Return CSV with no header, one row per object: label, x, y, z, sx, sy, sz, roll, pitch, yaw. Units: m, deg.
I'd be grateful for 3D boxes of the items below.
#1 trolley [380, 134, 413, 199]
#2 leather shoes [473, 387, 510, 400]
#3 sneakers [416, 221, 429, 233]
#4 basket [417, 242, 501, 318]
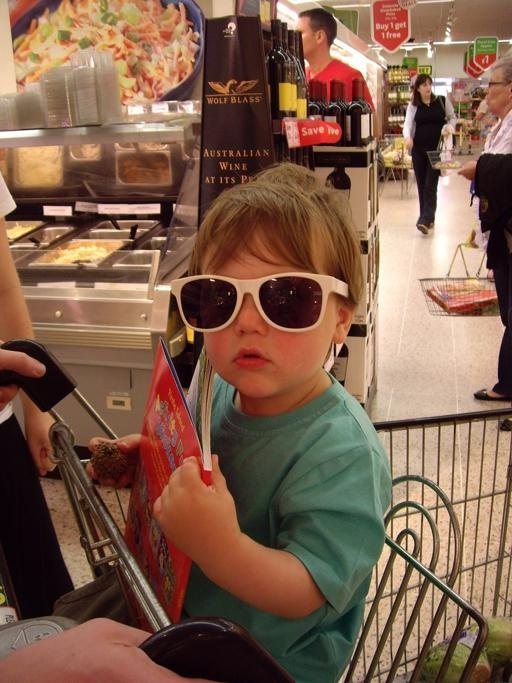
trolley,3.828,-4.846,13.663,0.886,1.265,0.832,-19,24,-38
leather shoes,1.710,0.388,3.646,0.222,0.065,0.086,6,6,20
sneakers,2.807,-1.915,8.472,0.193,0.195,0.212,6,25,19
basket,1.454,-0.410,3.600,0.383,0.258,0.402,3,66,36
